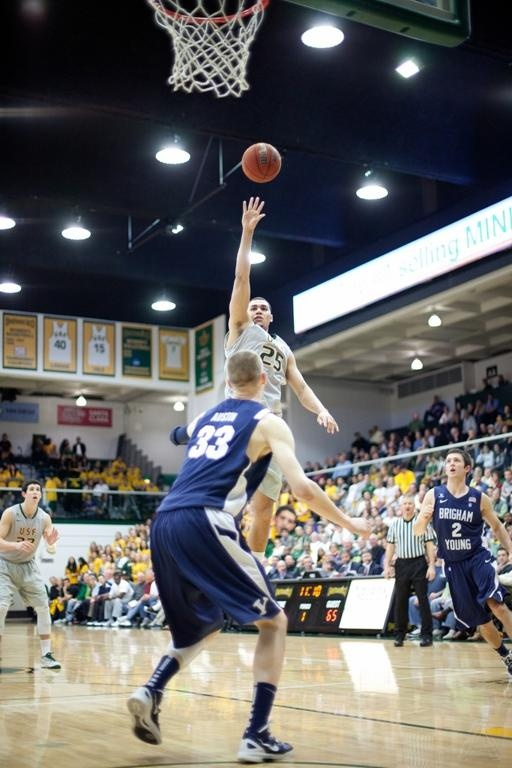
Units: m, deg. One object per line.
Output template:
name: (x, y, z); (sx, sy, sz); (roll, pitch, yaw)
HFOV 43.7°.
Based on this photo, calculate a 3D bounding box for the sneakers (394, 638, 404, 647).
sneakers: (1.695, 3.086, 7.548); (0.061, 0.075, 0.180); (-1, -20, 3)

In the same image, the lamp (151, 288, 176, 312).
lamp: (-2.432, -2.231, 17.225); (0.611, 0.631, 0.587); (12, -21, -40)

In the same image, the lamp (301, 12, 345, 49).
lamp: (0.736, -3.945, 7.196); (0.394, 0.185, 0.394); (11, -19, -42)

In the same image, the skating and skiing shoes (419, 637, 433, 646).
skating and skiing shoes: (2.018, 3.083, 7.592); (0.094, 0.107, 0.273); (-3, -18, 5)

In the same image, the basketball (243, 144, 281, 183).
basketball: (0.036, -1.637, 4.692); (0.258, 0.356, 0.227); (-2, -14, 2)

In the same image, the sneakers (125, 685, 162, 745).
sneakers: (-0.350, 1.061, 2.013); (0.103, 0.215, 0.265); (0, -14, -9)

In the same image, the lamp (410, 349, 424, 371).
lamp: (4.302, -0.624, 17.133); (0.444, 0.577, 0.136); (-3, -27, 3)

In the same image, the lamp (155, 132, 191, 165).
lamp: (-1.279, -3.718, 10.009); (0.429, 0.387, 0.712); (4, -15, -24)

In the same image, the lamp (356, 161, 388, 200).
lamp: (2.032, -3.547, 11.243); (0.448, 0.441, 0.466); (3, 9, 18)

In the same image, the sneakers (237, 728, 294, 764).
sneakers: (0.020, 1.077, 1.923); (0.189, 0.098, 0.063); (5, -8, -28)

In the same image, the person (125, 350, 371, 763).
person: (-0.062, 0.487, 2.084); (0.671, 1.274, 0.390); (-9, -16, 27)

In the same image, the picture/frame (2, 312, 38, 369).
picture/frame: (-6.610, -1.152, 17.919); (0.927, 1.561, 0.307); (3, -15, -20)

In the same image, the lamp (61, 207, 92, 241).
lamp: (-3.559, -3.153, 12.618); (0.478, 0.494, 0.506); (1, -25, -6)
